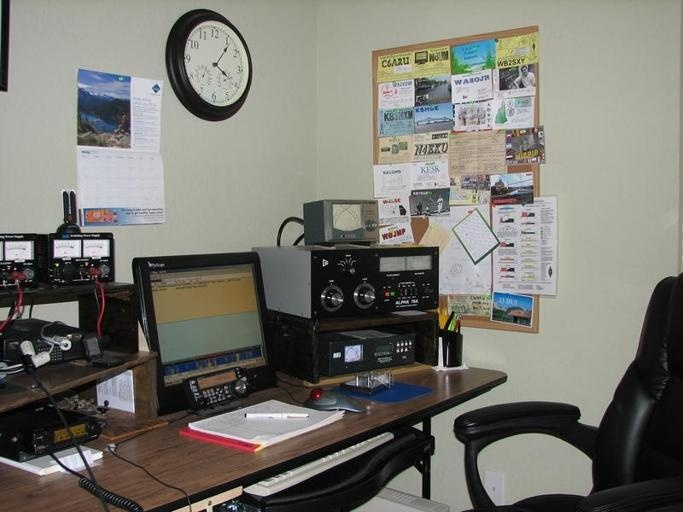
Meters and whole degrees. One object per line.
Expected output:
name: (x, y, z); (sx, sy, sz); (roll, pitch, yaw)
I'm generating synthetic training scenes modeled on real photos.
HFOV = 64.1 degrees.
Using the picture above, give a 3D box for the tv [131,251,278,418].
tv: (-0.536, 0.312, 2.064); (0.506, 0.518, 0.196); (-5, -21, -45)

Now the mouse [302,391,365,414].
mouse: (-0.025, 0.530, 1.982); (0.128, 0.041, 0.110); (1, 1, -8)

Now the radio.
radio: (0.044, 0.097, 2.581); (0.711, 0.274, 0.605); (-2, 2, -36)

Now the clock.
clock: (-0.614, -0.877, 2.524); (0.097, 0.469, 0.426); (8, 12, 36)
